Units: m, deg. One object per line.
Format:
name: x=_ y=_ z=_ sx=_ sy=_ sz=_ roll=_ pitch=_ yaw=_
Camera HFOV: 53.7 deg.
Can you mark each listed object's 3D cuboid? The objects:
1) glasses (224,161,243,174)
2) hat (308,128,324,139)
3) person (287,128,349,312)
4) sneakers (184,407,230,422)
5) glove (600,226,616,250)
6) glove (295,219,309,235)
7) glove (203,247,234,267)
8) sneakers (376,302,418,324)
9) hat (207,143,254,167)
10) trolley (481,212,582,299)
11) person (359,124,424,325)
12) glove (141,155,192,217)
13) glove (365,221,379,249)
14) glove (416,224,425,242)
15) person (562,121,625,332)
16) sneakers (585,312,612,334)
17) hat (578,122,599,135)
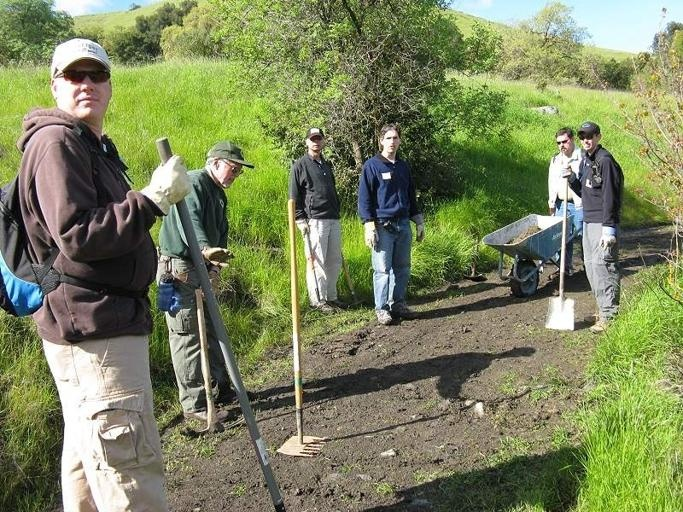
glasses: x=-1.034 y=-0.880 z=6.573 sx=0.115 sy=0.037 sz=0.107 roll=32 pitch=-31 yaw=-33
hat: x=-0.349 y=-1.635 z=8.949 sx=0.209 sy=0.147 sz=0.314 roll=-3 pitch=8 yaw=-3
person: x=-0.336 y=-0.485 z=8.994 sx=0.753 sy=2.433 sz=0.368 roll=-8 pitch=9 yaw=-37
sneakers: x=-1.315 y=1.578 z=6.686 sx=0.297 sy=0.090 sz=0.192 roll=-2 pitch=-6 yaw=3
glove: x=2.969 y=-0.205 z=7.518 sx=0.179 sy=0.328 sz=0.221 roll=3 pitch=3 yaw=9
glove: x=-0.499 y=-0.396 z=8.876 sx=0.074 sy=0.206 sz=0.135 roll=-6 pitch=17 yaw=-27
glove: x=-1.145 y=-0.015 z=6.327 sx=0.242 sy=0.175 sz=0.068 roll=20 pitch=45 yaw=-8
sneakers: x=0.707 y=0.766 z=8.710 sx=0.208 sy=0.305 sz=0.634 roll=1 pitch=-15 yaw=42
hat: x=-1.094 y=-1.008 z=6.584 sx=0.350 sy=0.218 sz=0.244 roll=9 pitch=7 yaw=-15
trolley: x=2.847 y=-0.081 z=9.523 sx=1.643 sy=0.895 sz=0.775 roll=-24 pitch=15 yaw=-33
person: x=0.575 y=-0.398 z=8.544 sx=0.758 sy=2.503 sz=0.340 roll=-8 pitch=9 yaw=-37
glove: x=-1.189 y=-0.492 z=4.787 sx=0.378 sy=0.349 sz=0.165 roll=-33 pitch=-7 yaw=-10
glove: x=0.373 y=-0.261 z=8.385 sx=0.143 sy=0.353 sz=0.132 roll=0 pitch=7 yaw=12
glove: x=1.035 y=-0.313 z=8.900 sx=0.142 sy=0.238 sz=0.078 roll=1 pitch=6 yaw=16
person: x=2.969 y=-0.366 z=7.718 sx=0.435 sy=2.337 sz=0.787 roll=-1 pitch=7 yaw=10
sneakers: x=2.966 y=0.773 z=7.763 sx=0.143 sy=0.291 sz=0.413 roll=-13 pitch=-18 yaw=32
hat: x=2.864 y=-1.458 z=7.852 sx=0.162 sy=0.148 sz=0.243 roll=-1 pitch=5 yaw=44
